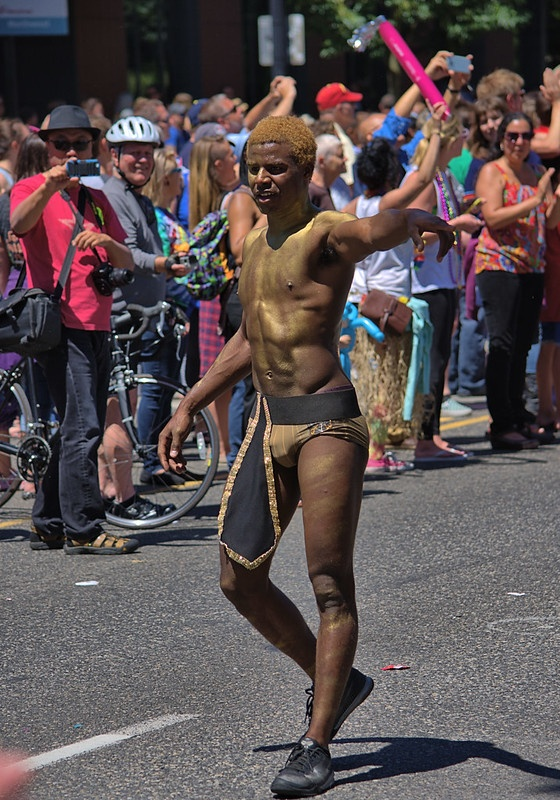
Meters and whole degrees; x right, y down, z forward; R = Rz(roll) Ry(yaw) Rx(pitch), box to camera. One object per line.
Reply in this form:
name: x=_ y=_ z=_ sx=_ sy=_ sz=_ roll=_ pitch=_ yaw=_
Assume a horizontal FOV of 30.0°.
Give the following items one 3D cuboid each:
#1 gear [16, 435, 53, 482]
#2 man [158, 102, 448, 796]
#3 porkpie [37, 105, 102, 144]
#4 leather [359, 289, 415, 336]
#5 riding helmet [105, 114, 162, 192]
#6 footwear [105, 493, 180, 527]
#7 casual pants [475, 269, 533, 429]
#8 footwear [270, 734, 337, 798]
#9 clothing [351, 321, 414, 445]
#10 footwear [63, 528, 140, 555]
gear: x=-1.359 y=0.316 z=5.733 sx=0.267 sy=0.240 sz=0.121 roll=-27 pitch=-18 yaw=33
man: x=0.057 y=0.119 z=2.591 sx=0.437 sy=1.638 sz=0.639 roll=-4 pitch=6 yaw=-7
porkpie: x=-1.063 y=-1.405 z=5.262 sx=0.301 sy=0.177 sz=0.235 roll=-4 pitch=6 yaw=-10
leather: x=0.725 y=-0.581 z=7.082 sx=0.295 sy=0.190 sz=0.158 roll=37 pitch=-14 yaw=-1
riding helmet: x=-0.886 y=-1.466 z=6.308 sx=0.369 sy=0.393 sz=0.440 roll=1 pitch=-11 yaw=-15
footwear: x=-0.776 y=0.623 z=5.967 sx=0.413 sy=0.157 sz=0.161 roll=-2 pitch=0 yaw=-2
casual pants: x=1.788 y=-0.408 z=8.051 sx=0.422 sy=1.298 sz=0.541 roll=-5 pitch=1 yaw=29
footwear: x=0.061 y=0.867 z=2.497 sx=0.085 sy=0.095 sz=0.218 roll=1 pitch=-1 yaw=22
clothing: x=0.754 y=-0.212 z=7.411 sx=0.488 sy=0.599 sz=0.407 roll=-4 pitch=11 yaw=24
footwear: x=-0.913 y=0.736 z=5.438 sx=0.403 sy=0.143 sz=0.135 roll=-2 pitch=0 yaw=-2
